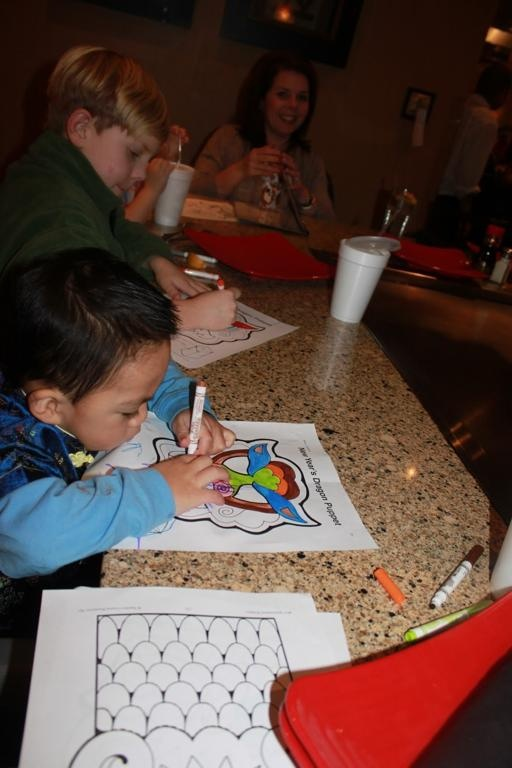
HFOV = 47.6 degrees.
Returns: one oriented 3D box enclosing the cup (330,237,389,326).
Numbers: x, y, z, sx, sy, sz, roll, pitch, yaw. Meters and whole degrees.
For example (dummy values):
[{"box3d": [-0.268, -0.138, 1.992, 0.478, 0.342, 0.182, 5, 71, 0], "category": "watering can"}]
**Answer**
[{"box3d": [0.200, -0.207, 1.172, 0.103, 0.169, 0.085, 9, 35, -12], "category": "cup"}]
